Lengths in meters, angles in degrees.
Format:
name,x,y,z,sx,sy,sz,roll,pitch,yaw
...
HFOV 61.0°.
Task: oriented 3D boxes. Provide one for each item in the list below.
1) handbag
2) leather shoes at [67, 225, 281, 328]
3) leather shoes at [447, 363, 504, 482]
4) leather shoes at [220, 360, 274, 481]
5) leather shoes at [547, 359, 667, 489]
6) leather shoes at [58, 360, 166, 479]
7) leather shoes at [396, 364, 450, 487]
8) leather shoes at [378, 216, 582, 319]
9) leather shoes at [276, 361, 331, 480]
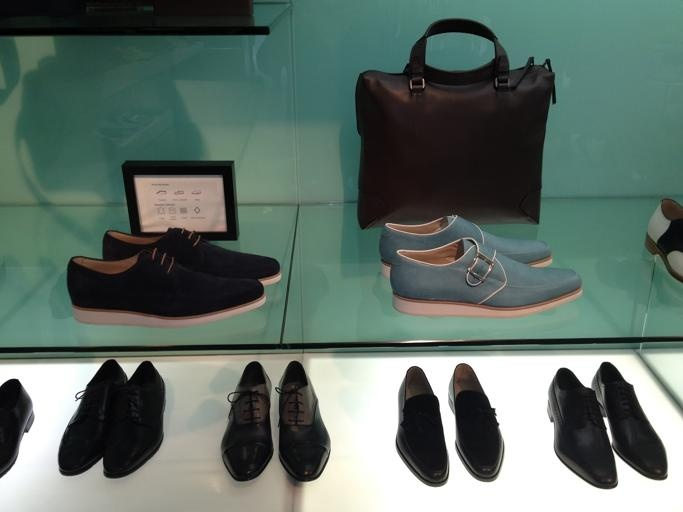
name,x,y,z,sx,sy,sz,roll,pitch,yaw
handbag,0.266,-0.311,1.377,0.452,0.460,0.168,-1,28,-1
leather shoes,-0.349,0.043,1.177,0.309,0.125,0.228,2,19,-4
leather shoes,0.275,0.346,1.217,0.076,0.065,0.213,-4,40,-4
leather shoes,-0.206,0.352,1.236,0.083,0.079,0.216,0,40,-5
leather shoes,0.551,0.352,1.224,0.213,0.110,0.233,-8,38,-8
leather shoes,-0.489,0.342,1.236,0.205,0.115,0.233,-5,37,-5
leather shoes,0.163,0.360,1.215,0.076,0.081,0.213,-2,31,-4
leather shoes,0.272,0.024,1.188,0.301,0.119,0.229,-1,21,-2
leather shoes,-0.076,0.347,1.246,0.083,0.080,0.219,-5,46,-8
